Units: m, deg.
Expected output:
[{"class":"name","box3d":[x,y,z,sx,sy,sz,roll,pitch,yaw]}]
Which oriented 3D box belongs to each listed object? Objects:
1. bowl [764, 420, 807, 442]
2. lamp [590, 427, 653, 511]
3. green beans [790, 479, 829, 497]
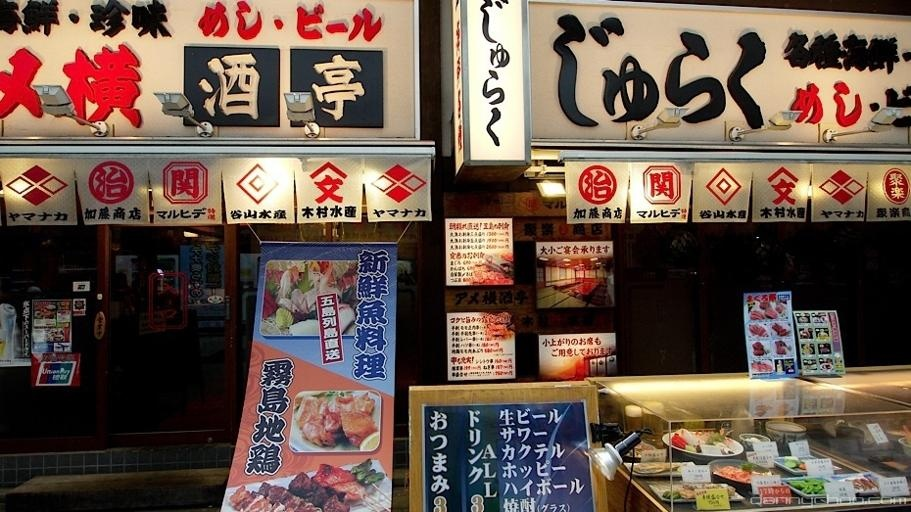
[{"class":"bowl","box3d":[4.909,2.615,11.690,0.408,0.174,0.398,1,5,0]},{"class":"lamp","box3d":[2.457,3.224,11.629,0.773,1.310,0.879,-3,-3,30]},{"class":"green beans","box3d":[5.172,3.390,11.567,0.310,0.069,0.302,-10,14,-25]}]
